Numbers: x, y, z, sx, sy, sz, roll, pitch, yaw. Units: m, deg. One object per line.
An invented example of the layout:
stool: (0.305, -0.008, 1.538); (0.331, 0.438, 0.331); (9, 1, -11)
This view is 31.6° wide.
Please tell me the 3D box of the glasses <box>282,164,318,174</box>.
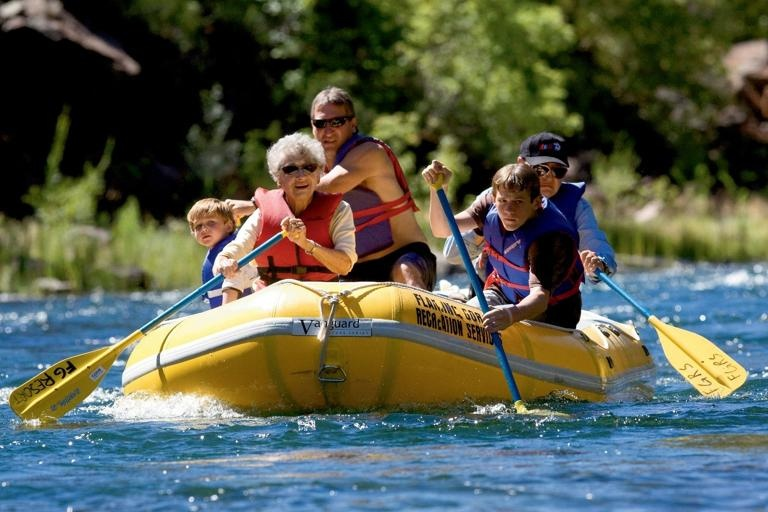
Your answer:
glasses: (-1.031, -1.051, 16.417); (0.420, 0.107, 0.054); (-2, 13, -5)

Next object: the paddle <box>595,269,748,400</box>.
paddle: (3.515, 0.905, 17.345); (0.683, 2.492, 0.145); (-38, -31, -18)

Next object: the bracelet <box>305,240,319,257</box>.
bracelet: (-0.877, -0.094, 16.313); (0.059, 0.170, 0.139); (3, -49, -28)
